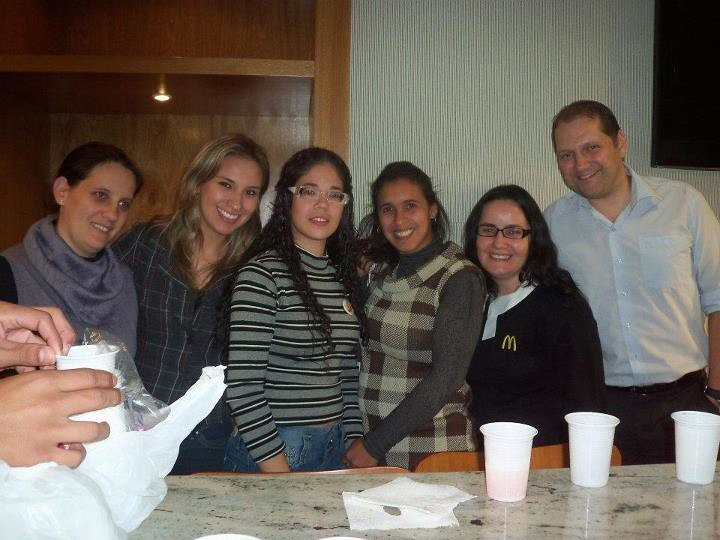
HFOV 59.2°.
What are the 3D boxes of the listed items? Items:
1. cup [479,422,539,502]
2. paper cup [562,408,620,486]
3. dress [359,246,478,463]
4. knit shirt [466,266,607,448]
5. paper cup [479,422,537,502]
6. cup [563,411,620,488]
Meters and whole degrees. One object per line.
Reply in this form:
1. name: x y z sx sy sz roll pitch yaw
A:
1. cup: 0.387 0.510 1.684 0.168 0.173 0.160 4 -16 1
2. paper cup: 0.628 0.489 1.718 0.161 0.171 0.143 -8 20 -21
3. dress: 0.226 0.344 2.420 0.454 0.727 0.606 10 -21 -25
4. knit shirt: 0.662 0.346 2.445 0.317 0.588 0.554 36 -33 -29
5. paper cup: 0.371 0.511 1.731 0.183 0.187 0.181 4 -7 1
6. cup: 0.607 0.485 1.762 0.187 0.198 0.177 3 -6 0
